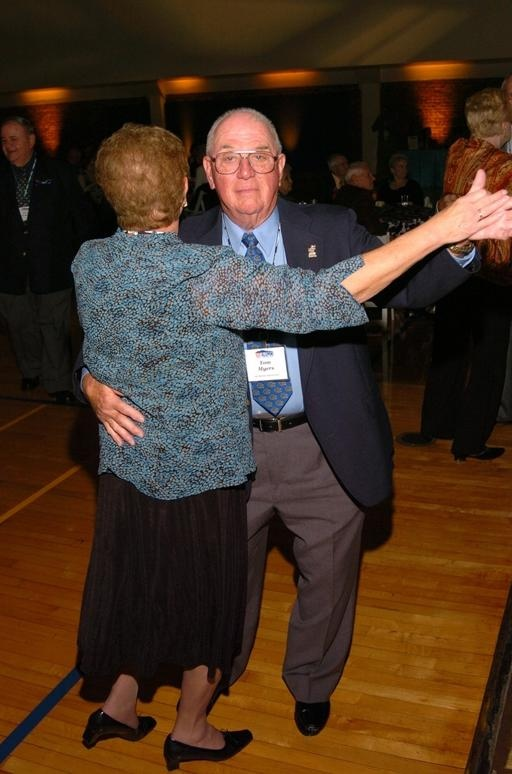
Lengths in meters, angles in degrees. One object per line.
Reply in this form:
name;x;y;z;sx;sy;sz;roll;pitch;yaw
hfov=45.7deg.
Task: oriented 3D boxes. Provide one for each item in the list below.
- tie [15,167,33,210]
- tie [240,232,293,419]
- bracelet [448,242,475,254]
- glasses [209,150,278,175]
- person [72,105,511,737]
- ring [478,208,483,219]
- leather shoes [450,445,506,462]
tie;-1.795;-1.545;4.711;0.163;0.296;0.043;-1;13;18
tie;0.025;-0.093;1.389;0.114;0.435;0.018;-4;36;3
bracelet;0.380;-0.255;1.119;0.024;0.016;0.028;1;11;31
glasses;-0.024;-0.526;1.427;0.146;0.061;0.048;-4;12;2
person;0.059;0.177;1.525;0.830;1.707;0.587;-4;12;4
ring;0.329;-0.251;0.884;0.009;0.010;0.003;-16;25;-34
leather shoes;1.328;0.397;3.612;0.316;0.085;0.118;-5;11;-1
